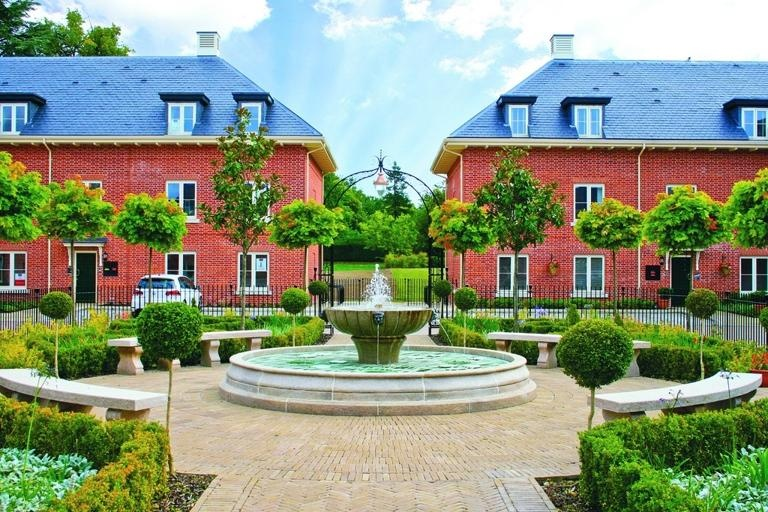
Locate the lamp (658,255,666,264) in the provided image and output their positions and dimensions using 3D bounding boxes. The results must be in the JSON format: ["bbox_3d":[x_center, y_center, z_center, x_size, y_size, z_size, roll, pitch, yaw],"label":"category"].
[{"bbox_3d":[12.448,0.123,37.898,0.329,0.630,0.339,4,9,37],"label":"lamp"}]

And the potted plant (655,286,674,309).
[{"bbox_3d":[11.903,1.773,35.914,0.831,1.185,0.755,0,-4,-1],"label":"potted plant"}]

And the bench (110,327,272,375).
[{"bbox_3d":[-5.648,2.625,24.468,4.448,1.231,0.690,-8,12,-31],"label":"bench"}]
